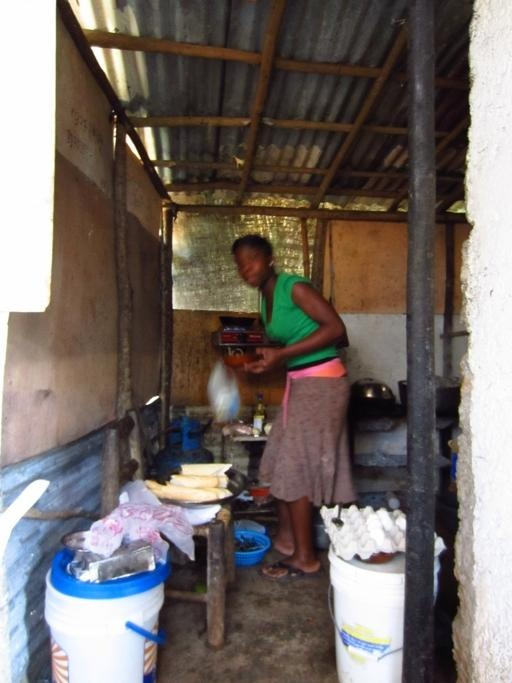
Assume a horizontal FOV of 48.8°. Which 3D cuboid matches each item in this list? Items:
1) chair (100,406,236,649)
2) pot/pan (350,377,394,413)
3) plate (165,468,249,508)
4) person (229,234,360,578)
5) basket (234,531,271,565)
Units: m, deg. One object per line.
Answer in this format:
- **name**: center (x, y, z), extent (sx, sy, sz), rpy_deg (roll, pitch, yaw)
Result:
- **chair**: center (-0.414, 0.828, 2.956), extent (0.714, 1.244, 0.826), rpy_deg (0, 0, 9)
- **pot/pan**: center (0.872, 0.414, 4.221), extent (0.235, 0.151, 0.250), rpy_deg (1, 3, 2)
- **plate**: center (-0.249, 0.695, 2.688), extent (0.297, 0.077, 0.308), rpy_deg (-2, 1, 32)
- **person**: center (0.214, 0.332, 3.116), extent (0.598, 1.870, 0.517), rpy_deg (-1, 2, -16)
- **basket**: center (-0.021, 1.208, 3.294), extent (0.154, 0.066, 0.161), rpy_deg (-1, 1, -6)
